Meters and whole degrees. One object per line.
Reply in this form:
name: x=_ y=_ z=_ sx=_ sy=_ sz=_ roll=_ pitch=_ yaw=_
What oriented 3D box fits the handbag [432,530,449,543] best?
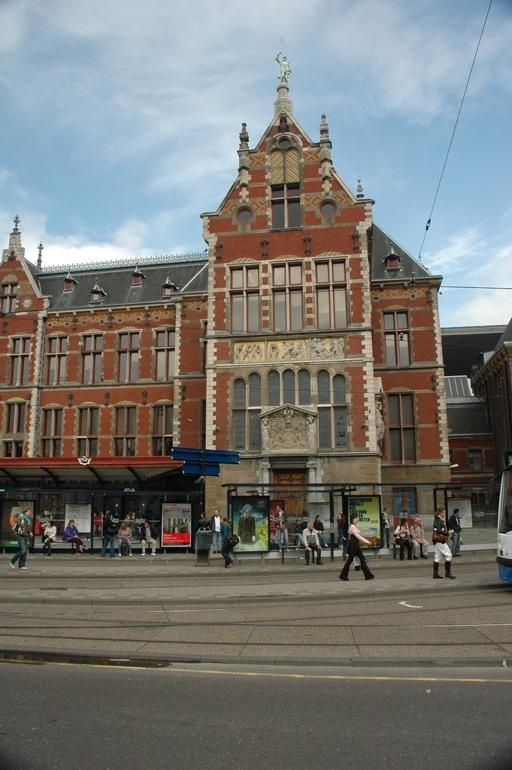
handbag: x=4.058 y=3.337 z=16.220 sx=0.281 sy=0.290 sz=0.665 roll=-3 pitch=-11 yaw=10

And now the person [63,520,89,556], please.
person: x=-6.339 y=5.244 z=25.563 sx=0.784 sy=1.156 sz=0.711 roll=2 pitch=-12 yaw=-12

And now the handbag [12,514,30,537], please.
handbag: x=-5.904 y=3.515 z=18.390 sx=0.356 sy=0.682 sz=1.040 roll=3 pitch=-12 yaw=-16

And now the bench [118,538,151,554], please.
bench: x=-4.141 y=5.561 z=25.321 sx=1.213 sy=0.569 sz=1.912 roll=1 pitch=-11 yaw=-8

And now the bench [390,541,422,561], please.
bench: x=4.606 y=5.022 z=22.354 sx=0.926 sy=0.570 sz=0.474 roll=0 pitch=-33 yaw=4

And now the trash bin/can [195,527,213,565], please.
trash bin/can: x=-1.533 y=4.626 z=21.079 sx=0.411 sy=0.947 sz=0.488 roll=2 pitch=-12 yaw=-11

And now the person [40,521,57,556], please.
person: x=-7.153 y=5.240 z=25.255 sx=0.385 sy=1.160 sz=0.967 roll=3 pitch=-12 yaw=-18

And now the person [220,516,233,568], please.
person: x=-0.922 y=4.443 z=20.961 sx=0.517 sy=1.314 sz=0.455 roll=-4 pitch=-9 yaw=13
